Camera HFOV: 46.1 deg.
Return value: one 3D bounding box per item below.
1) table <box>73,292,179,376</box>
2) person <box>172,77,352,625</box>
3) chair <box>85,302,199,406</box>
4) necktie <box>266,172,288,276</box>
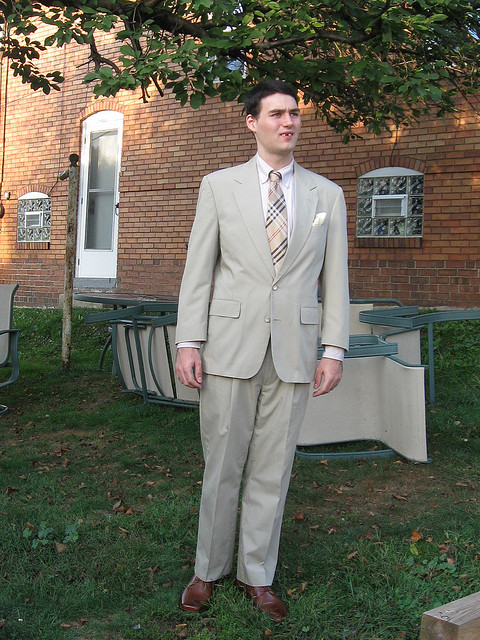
[{"bbox_3d":[-1.546,-0.068,6.946,1.541,0.886,1.476,2,3,15],"label":"table"},{"bbox_3d":[0.083,0.139,1.964,0.594,1.887,0.271,0,5,0],"label":"person"},{"bbox_3d":[-0.868,0.298,5.439,1.266,0.891,1.021,-4,5,-1],"label":"chair"},{"bbox_3d":[0.119,-0.316,1.881,0.095,0.395,0.031,3,-5,-34],"label":"necktie"}]
